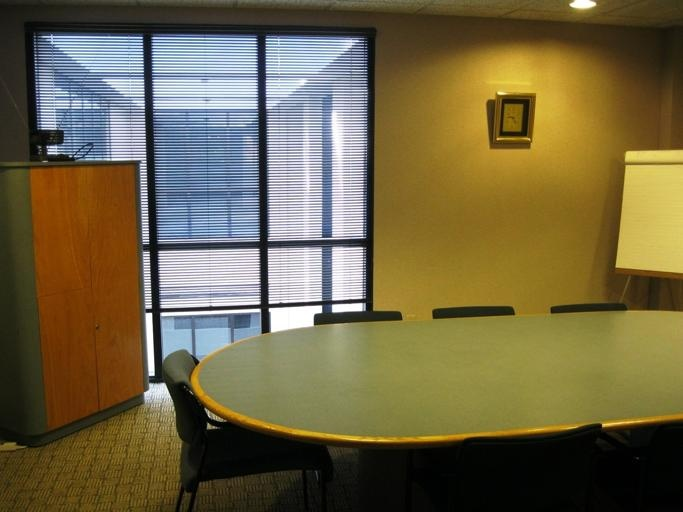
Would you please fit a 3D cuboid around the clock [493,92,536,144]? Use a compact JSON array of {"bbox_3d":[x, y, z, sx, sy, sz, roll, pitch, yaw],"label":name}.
[{"bbox_3d":[1.573,-1.295,5.926,0.462,0.540,0.054,0,9,-14],"label":"clock"}]
